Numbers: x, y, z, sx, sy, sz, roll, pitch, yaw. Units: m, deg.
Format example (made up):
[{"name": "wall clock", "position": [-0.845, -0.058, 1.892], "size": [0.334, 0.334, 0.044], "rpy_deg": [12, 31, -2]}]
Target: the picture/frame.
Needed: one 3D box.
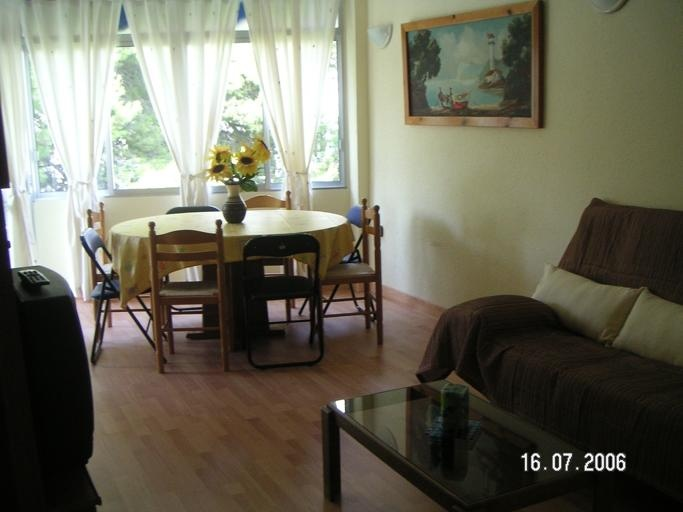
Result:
[{"name": "picture/frame", "position": [0.970, -1.422, 4.180], "size": [0.058, 0.862, 1.339], "rpy_deg": [-9, 15, -34]}]

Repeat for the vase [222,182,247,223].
[{"name": "vase", "position": [-0.829, -0.412, 4.239], "size": [0.238, 0.299, 0.247], "rpy_deg": [-4, 11, -20]}]

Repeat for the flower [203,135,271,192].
[{"name": "flower", "position": [-0.826, -0.611, 4.206], "size": [0.410, 0.301, 0.378], "rpy_deg": [-10, -4, -43]}]
